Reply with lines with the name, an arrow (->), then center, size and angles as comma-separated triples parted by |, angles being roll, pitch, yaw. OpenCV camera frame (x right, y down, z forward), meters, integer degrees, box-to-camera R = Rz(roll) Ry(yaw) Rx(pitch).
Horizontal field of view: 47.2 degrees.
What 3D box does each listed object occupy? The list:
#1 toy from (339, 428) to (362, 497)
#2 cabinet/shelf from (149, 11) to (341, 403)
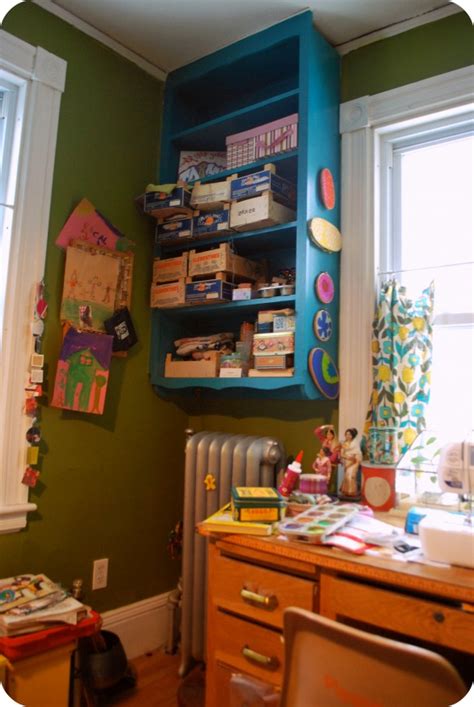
toy -> 0.410, 0.381, 1.943 | 0.076, 0.214, 0.262 | 2, 0, 12
cabinet/shelf -> 0.039, -0.584, 2.362 | 0.893, 1.491, 0.391 | 2, 0, 42
